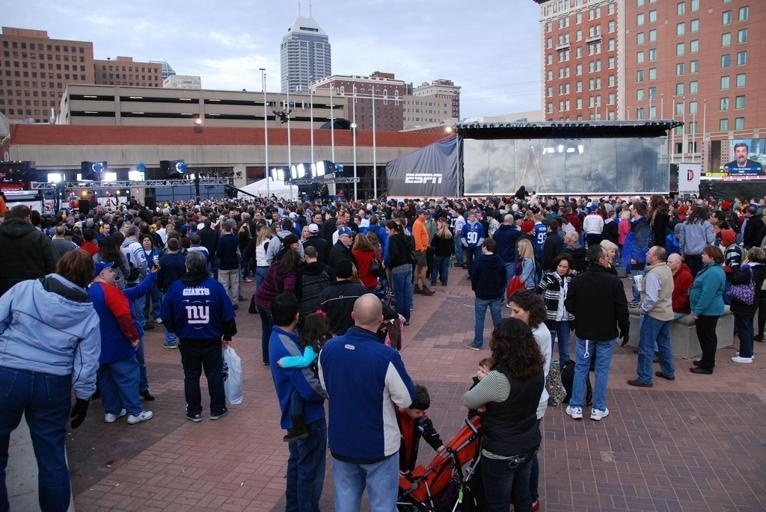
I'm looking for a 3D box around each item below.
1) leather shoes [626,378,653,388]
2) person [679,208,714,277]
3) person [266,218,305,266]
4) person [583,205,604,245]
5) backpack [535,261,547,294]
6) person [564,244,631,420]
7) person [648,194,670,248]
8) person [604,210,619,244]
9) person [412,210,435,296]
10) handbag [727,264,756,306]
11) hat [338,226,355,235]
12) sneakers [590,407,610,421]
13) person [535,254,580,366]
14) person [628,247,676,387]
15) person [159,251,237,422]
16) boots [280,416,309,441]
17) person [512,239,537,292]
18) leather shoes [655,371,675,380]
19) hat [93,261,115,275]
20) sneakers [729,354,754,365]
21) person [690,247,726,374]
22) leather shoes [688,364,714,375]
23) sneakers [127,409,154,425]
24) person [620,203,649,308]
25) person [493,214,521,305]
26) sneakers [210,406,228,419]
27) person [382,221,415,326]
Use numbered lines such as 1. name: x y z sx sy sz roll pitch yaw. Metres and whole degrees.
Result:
1. leather shoes: 4.488 2.203 11.181 0.395 0.164 0.158 3 -1 31
2. person: 7.736 -0.165 15.645 0.734 2.088 0.782 -3 6 -41
3. person: -2.170 0.086 14.100 0.793 1.637 0.523 2 18 -5
4. person: 6.026 -0.846 18.326 0.570 1.010 2.183 0 7 19
5. backpack: 3.071 0.429 12.449 0.196 0.665 0.192 -10 39 4
6. person: 3.370 1.220 10.101 0.923 2.782 0.481 0 7 19
7. person: 7.051 -0.871 16.264 0.491 1.307 0.606 0 7 16
8. person: 6.508 -0.798 18.216 0.396 1.028 1.527 1 7 21
9. person: 1.028 -0.089 17.168 0.607 2.306 0.794 5 -10 -14
10. handbag: 6.843 0.567 12.137 0.507 0.703 0.381 -2 7 -2
11. hat: -0.824 -0.568 14.260 0.291 0.156 0.208 0 2 -6
12. sneakers: 3.425 2.524 10.127 0.151 0.131 0.354 24 -19 -36
13. person: 3.019 1.038 10.930 0.705 2.027 0.627 3 16 23
14. person: 4.681 1.058 11.052 0.615 2.473 0.863 4 9 40
15. person: -2.882 1.293 10.069 1.078 2.758 0.442 -4 7 -16
16. boots: -1.054 2.143 7.842 0.421 0.383 0.183 -4 -3 5
17. person: 2.933 0.186 13.031 0.381 1.105 0.939 0 7 13
18. leather shoes: 5.051 2.166 11.451 0.118 0.130 0.319 -13 17 -22
19. hat: -4.367 0.191 9.996 0.186 0.151 0.308 5 27 28
20. sneakers: 6.778 1.980 12.092 0.377 0.164 0.164 4 1 25
21. person: 5.826 0.991 11.513 0.602 2.330 0.448 -1 7 10
22. leather shoes: 5.797 2.074 11.629 0.363 0.151 0.149 3 1 21
23. sneakers: -3.889 2.603 10.274 0.160 0.175 0.408 7 11 27
24. person: 6.760 -0.099 17.161 0.817 2.677 1.096 -2 13 14
25. person: 3.116 0.109 15.888 0.758 2.300 0.778 6 -4 -42
26. sneakers: -2.650 2.550 10.347 0.114 0.136 0.317 3 5 21
27. person: 0.285 0.350 14.831 0.745 2.372 0.838 5 11 35
